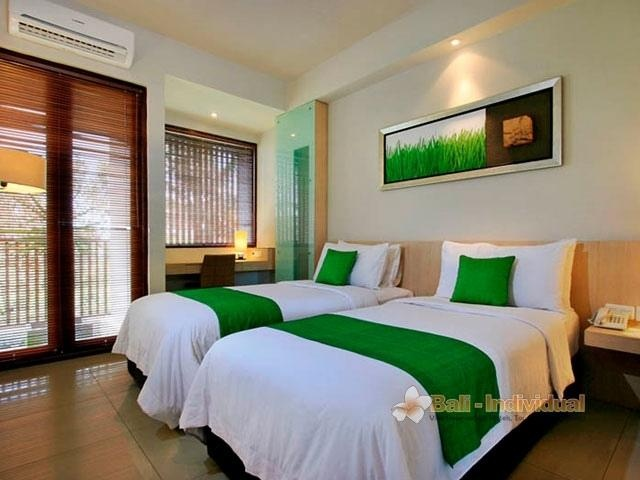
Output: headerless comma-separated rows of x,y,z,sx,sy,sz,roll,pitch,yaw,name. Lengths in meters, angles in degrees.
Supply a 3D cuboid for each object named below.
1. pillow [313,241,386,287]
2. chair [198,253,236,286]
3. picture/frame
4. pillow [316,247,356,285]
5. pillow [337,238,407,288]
0.219,0.200,4.617,0.659,0.642,0.182,-12,-26,37,pillow
-1.275,0.354,5.482,0.380,0.711,0.401,1,1,-32,chair
1.344,-0.935,4.054,1.657,0.875,0.134,5,10,41,picture/frame
0.176,0.303,4.517,0.372,0.364,0.115,0,-30,48,pillow
0.546,0.262,4.464,0.363,0.448,0.130,-6,-13,32,pillow
